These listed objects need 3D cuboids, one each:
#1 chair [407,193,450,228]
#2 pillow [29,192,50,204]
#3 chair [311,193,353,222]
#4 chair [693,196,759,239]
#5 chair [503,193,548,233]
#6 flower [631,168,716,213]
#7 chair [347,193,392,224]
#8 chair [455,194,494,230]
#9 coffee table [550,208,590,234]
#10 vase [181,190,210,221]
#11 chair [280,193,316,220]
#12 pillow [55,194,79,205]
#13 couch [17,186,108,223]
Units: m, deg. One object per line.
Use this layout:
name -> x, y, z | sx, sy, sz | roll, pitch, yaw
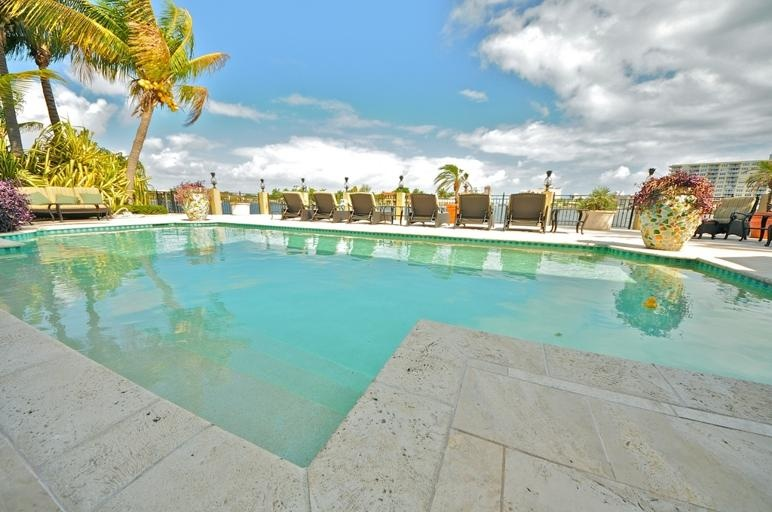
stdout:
chair -> 1.485, -1.575, 11.729 | 1.029, 1.005, 1.702 | 5, 4, 21
pillow -> -11.252, -1.913, 10.688 | 0.451, 0.403, 0.947 | -4, 11, -43
chair -> -2.050, -1.841, 12.641 | 1.326, 0.924, 1.276 | 3, 10, 19
chair -> 10.323, -1.207, 10.027 | 0.793, 0.974, 1.473 | -7, 8, 18
chair -> 4.580, -1.304, 10.816 | 1.390, 1.348, 1.728 | 6, 2, 11
flower -> 6.145, -1.427, 6.874 | 1.084, 0.484, 0.888 | -24, 29, -22
chair -> -0.641, -1.802, 12.332 | 1.209, 1.110, 1.646 | 7, 9, 22
chair -> 3.056, -1.454, 11.089 | 1.181, 1.215, 1.531 | 5, 3, 20
coffee table -> 6.279, -1.223, 11.147 | 0.904, 0.841, 2.457 | 10, 9, 35
vase -> -7.702, -2.201, 13.516 | 1.216, 1.340, 1.146 | -6, 35, -28
chair -> -3.459, -2.005, 13.260 | 1.198, 1.062, 1.166 | 4, 9, 18
pillow -> -10.815, -1.952, 11.167 | 0.615, 0.333, 1.408 | -4, 10, -44
couch -> -10.822, -1.851, 11.145 | 1.018, 0.985, 2.079 | 6, 11, 33
